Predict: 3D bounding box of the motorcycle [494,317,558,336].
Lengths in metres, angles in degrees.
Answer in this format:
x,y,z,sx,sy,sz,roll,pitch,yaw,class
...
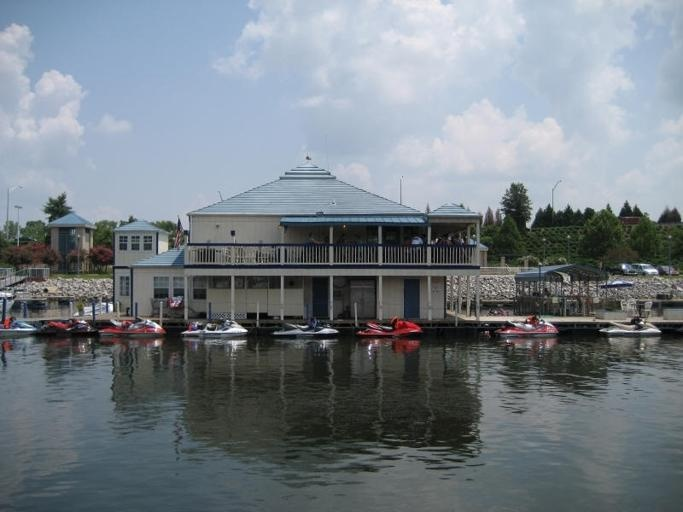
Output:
x,y,z,sx,sy,sz,roll,pitch,yaw,class
10.615,4.085,50.682,3.532,1.193,1.394,1,-3,-20,motorcycle
